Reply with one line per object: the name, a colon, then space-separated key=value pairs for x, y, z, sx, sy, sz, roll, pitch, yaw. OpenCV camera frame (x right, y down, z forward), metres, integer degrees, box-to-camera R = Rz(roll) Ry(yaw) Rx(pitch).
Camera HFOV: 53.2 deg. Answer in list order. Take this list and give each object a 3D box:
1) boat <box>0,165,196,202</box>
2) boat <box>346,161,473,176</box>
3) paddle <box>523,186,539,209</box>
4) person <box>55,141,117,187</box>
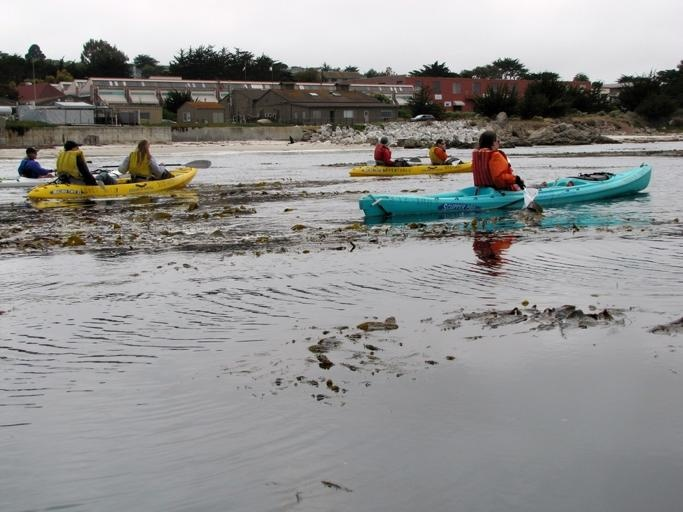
boat: x=-5.741 y=-1.964 z=17.611 sx=5.075 sy=0.583 sz=1.364 roll=-6 pitch=14 yaw=-33
boat: x=3.092 y=-2.916 z=23.661 sx=5.767 sy=0.490 sz=1.109 roll=-3 pitch=8 yaw=-14
paddle: x=3.840 y=-1.205 z=13.849 sx=0.329 sy=0.110 sz=0.761 roll=0 pitch=22 yaw=14
person: x=-6.450 y=-2.241 z=16.783 sx=1.314 sy=1.139 sz=1.655 roll=-4 pitch=13 yaw=1
